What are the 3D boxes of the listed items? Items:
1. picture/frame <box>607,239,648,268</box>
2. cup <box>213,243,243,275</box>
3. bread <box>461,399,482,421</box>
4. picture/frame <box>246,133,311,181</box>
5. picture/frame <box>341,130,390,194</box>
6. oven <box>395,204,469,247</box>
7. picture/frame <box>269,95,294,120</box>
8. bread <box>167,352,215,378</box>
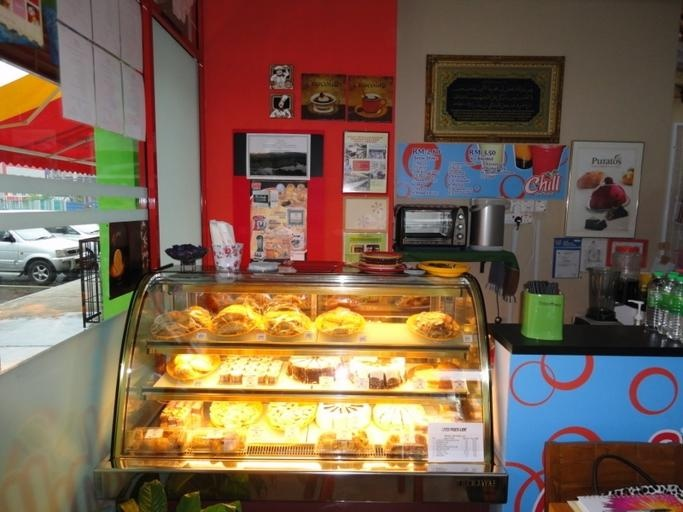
[{"bbox_3d":[2.346,-0.027,4.192,0.252,0.214,0.128,1,-5,3],"label":"picture/frame"},{"bbox_3d":[-0.631,0.013,2.834,0.168,0.130,0.154,-1,-4,0],"label":"cup"},{"bbox_3d":[0.678,0.807,2.646,0.030,0.103,0.110,-1,11,-43],"label":"bread"},{"bbox_3d":[-0.510,-0.776,4.026,0.512,0.355,0.015,-5,15,-24],"label":"picture/frame"},{"bbox_3d":[0.174,-0.767,4.036,0.493,0.618,0.051,1,3,-3],"label":"picture/frame"},{"bbox_3d":[0.778,-0.257,4.246,0.561,0.349,0.330,2,9,19],"label":"oven"},{"bbox_3d":[-0.478,-1.177,3.985,0.178,0.175,0.018,1,3,-1],"label":"picture/frame"},{"bbox_3d":[-0.812,0.595,2.721,0.167,0.053,0.173,2,12,-7],"label":"bread"}]
